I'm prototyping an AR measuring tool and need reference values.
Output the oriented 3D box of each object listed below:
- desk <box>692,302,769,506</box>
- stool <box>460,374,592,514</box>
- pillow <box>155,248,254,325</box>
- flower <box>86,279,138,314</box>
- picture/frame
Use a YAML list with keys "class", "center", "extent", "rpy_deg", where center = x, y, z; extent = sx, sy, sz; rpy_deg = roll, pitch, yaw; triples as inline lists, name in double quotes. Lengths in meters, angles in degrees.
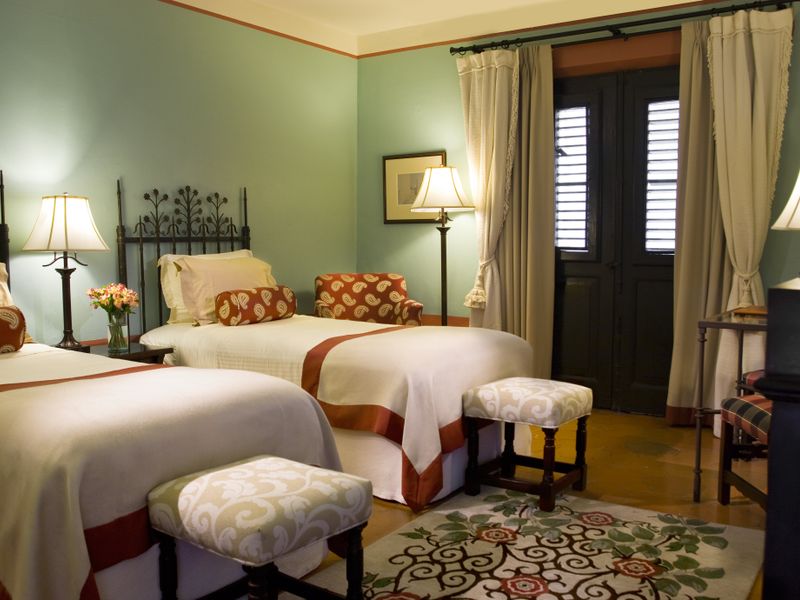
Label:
- class: "desk"
  center: [2.000, 0.589, 3.649]
  extent: [0.311, 0.851, 0.846]
  rpy_deg: [2, 5, 41]
- class: "stool"
  center: [0.737, 0.717, 3.625]
  extent: [0.633, 0.830, 0.643]
  rpy_deg: [1, 3, 36]
- class: "pillow"
  center: [-1.544, -0.099, 4.441]
  extent: [0.484, 0.533, 0.134]
  rpy_deg: [-6, 5, -37]
- class: "flower"
  center: [-1.769, 0.001, 3.923]
  extent: [0.236, 0.187, 0.258]
  rpy_deg: [0, -9, 14]
- class: "picture/frame"
  center: [0.154, -0.989, 5.527]
  extent: [0.691, 0.739, 0.050]
  rpy_deg: [2, 2, 34]
